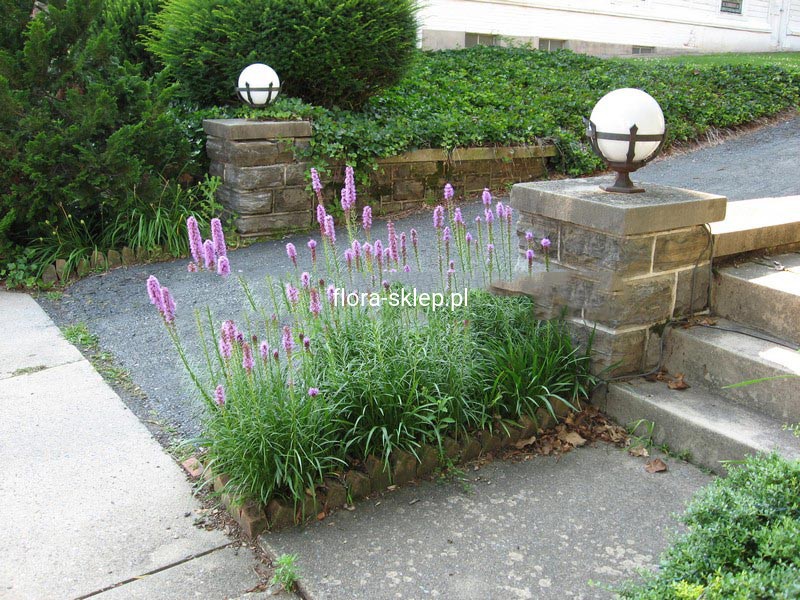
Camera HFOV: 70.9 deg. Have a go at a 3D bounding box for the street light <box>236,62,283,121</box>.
[{"bbox_3d":[-1.616,-2.454,6.619,0.451,0.501,0.476,0,3,6],"label":"street light"}]

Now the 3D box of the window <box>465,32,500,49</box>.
[{"bbox_3d":[2.273,-7.241,15.536,1.241,0.310,0.210,-21,26,-34],"label":"window"}]

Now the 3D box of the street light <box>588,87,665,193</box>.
[{"bbox_3d":[1.392,-0.977,3.464,0.463,0.617,0.278,-2,21,10],"label":"street light"}]
